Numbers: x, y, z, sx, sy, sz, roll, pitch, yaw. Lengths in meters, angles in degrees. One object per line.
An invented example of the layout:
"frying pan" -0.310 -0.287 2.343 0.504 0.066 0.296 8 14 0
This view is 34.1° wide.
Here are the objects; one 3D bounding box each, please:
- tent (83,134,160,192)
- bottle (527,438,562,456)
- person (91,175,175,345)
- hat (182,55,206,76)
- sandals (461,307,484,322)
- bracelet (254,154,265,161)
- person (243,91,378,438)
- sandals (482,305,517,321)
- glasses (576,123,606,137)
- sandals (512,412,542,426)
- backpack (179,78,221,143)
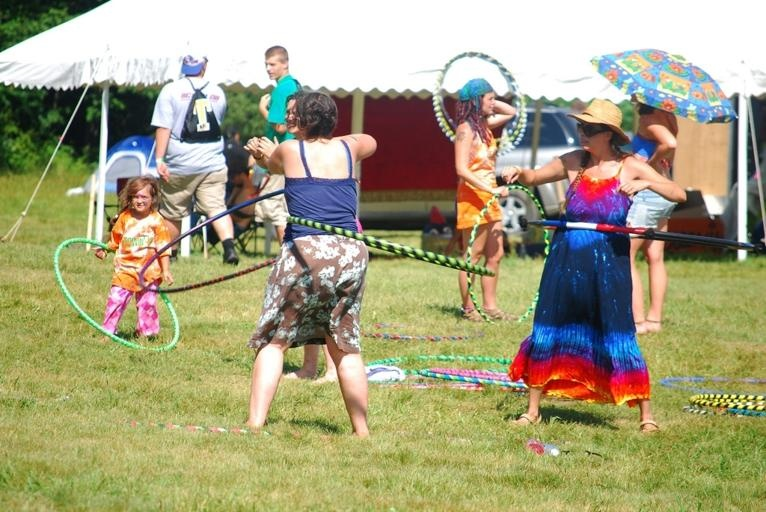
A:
"tent" -3.908 -1.641 20.138 1.052 0.725 1.080 2 19 0
"bottle" 1.438 1.663 10.954 0.234 0.117 0.123 8 3 22
"person" -2.582 0.013 13.094 0.726 1.707 0.699 5 5 33
"hat" -2.393 -2.426 15.839 0.299 0.218 0.486 11 16 3
"sandals" 1.045 0.681 14.373 0.219 0.088 0.117 2 5 38
"bracelet" -1.095 -0.891 11.181 0.056 0.055 0.017 -2 -31 -1
"person" -0.594 0.050 11.054 1.078 3.006 0.462 2 4 -5
"sandals" 1.336 0.647 14.427 0.482 0.208 0.157 -1 3 -5
"glasses" 1.936 -1.161 11.405 0.175 0.057 0.151 4 6 -19
"sandals" 1.359 1.503 11.518 0.229 0.082 0.109 2 3 -4
"backpack" -2.316 -1.822 15.717 0.759 0.980 0.420 -3 11 -25
